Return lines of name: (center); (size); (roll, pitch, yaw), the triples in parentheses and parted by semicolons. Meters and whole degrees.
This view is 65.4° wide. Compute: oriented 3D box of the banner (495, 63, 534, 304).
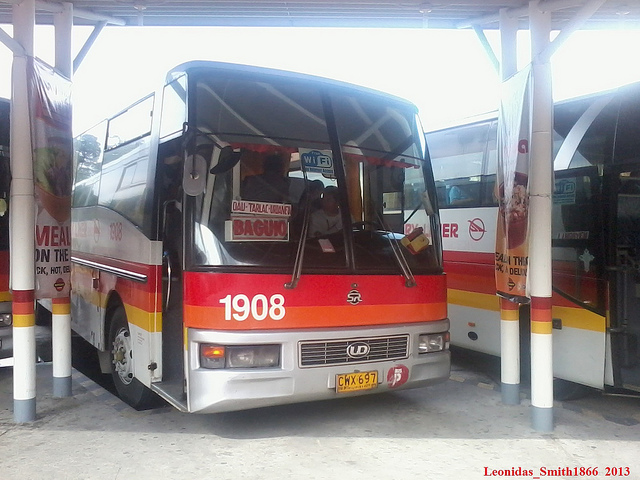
banner: (2.355, -0.639, 6.020); (0.258, 2.796, 0.745); (1, 1, 1)

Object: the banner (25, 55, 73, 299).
banner: (-3.318, -0.696, 6.137); (0.276, 2.880, 0.811); (1, 1, -2)

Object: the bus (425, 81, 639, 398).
bus: (3.012, 0.053, 7.804); (2.514, 4.281, 4.034); (0, 1, -20)

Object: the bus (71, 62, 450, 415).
bus: (-2.796, -0.025, 9.782); (3.604, 4.555, 10.689); (4, -2, -36)
